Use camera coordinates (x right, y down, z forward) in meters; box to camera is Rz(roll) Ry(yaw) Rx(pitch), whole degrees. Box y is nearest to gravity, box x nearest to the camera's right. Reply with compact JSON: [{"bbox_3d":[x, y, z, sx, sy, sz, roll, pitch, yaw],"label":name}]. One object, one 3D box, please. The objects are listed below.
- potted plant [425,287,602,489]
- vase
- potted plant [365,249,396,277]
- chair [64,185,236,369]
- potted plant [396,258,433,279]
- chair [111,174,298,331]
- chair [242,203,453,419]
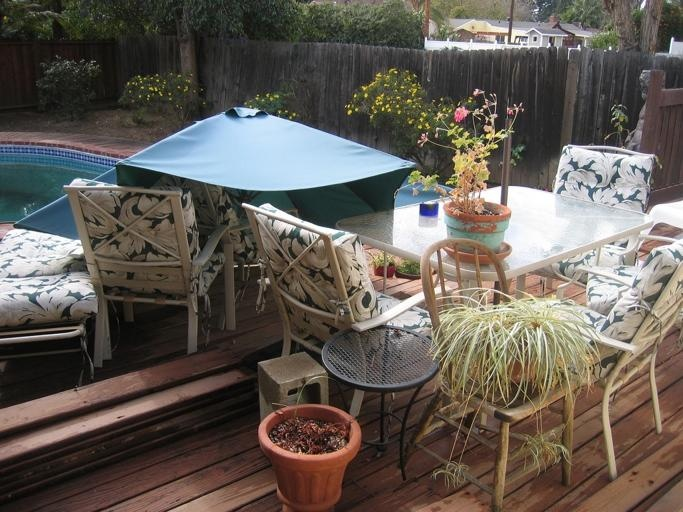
[{"bbox_3d":[0.567,0.473,2.119,0.733,0.593,0.672,-5,20,-4],"label":"potted plant"},{"bbox_3d":[0.686,-0.140,2.506,0.334,0.198,0.331,14,22,30],"label":"vase"},{"bbox_3d":[0.331,0.043,4.214,0.235,0.160,0.249,-3,19,-17],"label":"potted plant"},{"bbox_3d":[-1.152,0.076,3.078,0.816,1.006,0.796,5,13,12],"label":"chair"},{"bbox_3d":[0.556,0.067,4.043,0.248,0.080,0.225,-2,25,-6],"label":"potted plant"},{"bbox_3d":[-0.849,-0.255,3.422,0.757,0.852,0.713,12,33,18],"label":"chair"},{"bbox_3d":[0.005,0.067,2.897,1.065,1.207,1.032,-21,32,-38],"label":"chair"}]
